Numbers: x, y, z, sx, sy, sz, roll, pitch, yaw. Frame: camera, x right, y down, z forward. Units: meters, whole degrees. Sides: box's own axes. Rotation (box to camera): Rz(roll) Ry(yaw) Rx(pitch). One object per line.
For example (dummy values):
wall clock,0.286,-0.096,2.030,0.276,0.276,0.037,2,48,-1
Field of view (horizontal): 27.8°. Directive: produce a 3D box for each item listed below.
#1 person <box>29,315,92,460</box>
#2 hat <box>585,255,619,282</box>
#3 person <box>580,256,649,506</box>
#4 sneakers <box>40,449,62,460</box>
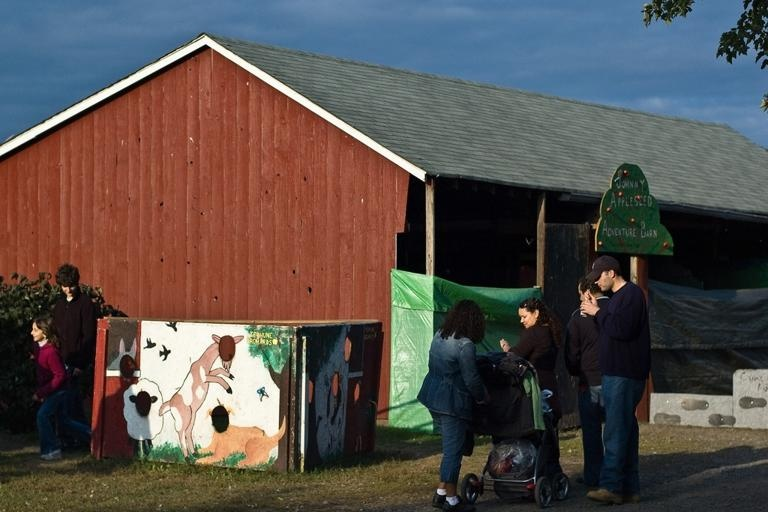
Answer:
person,-5.988,2.443,28.754,0.828,2.607,1.082,-2,-7,12
hat,3.732,0.202,26.702,0.487,0.320,0.360,-9,2,10
person,3.963,2.075,26.329,0.999,4.178,0.525,-2,-7,7
sneakers,-6.064,3.634,28.410,0.347,0.176,0.163,2,-1,-1
